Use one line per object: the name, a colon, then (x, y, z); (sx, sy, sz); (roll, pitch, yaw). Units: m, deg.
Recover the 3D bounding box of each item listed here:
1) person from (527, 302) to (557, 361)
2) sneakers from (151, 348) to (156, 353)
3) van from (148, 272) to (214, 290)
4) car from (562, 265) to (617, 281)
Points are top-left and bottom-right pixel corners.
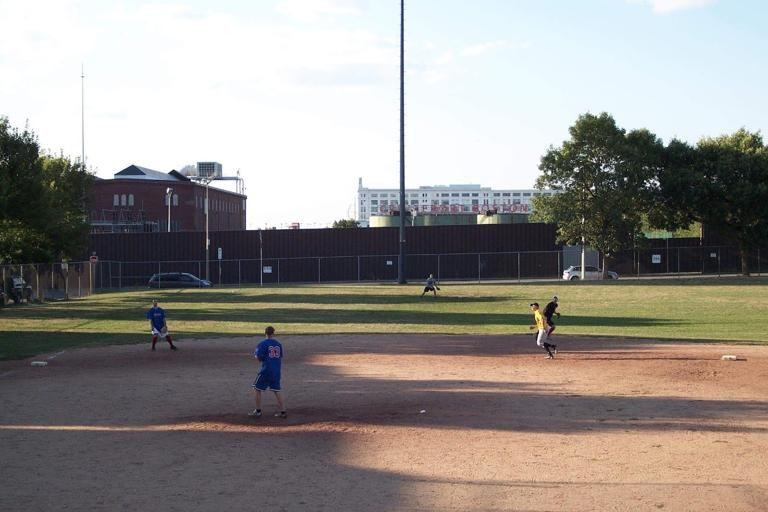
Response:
person: (8.093, 3.900, 61.394); (1.528, 2.813, 1.112); (1, -45, -2)
sneakers: (-11.669, 4.667, 60.826); (0.189, 0.152, 0.253); (0, -2, -9)
van: (-17.966, 2.167, 106.063); (4.481, 1.378, 2.060); (-1, 0, 0)
car: (18.866, 1.589, 110.333); (4.225, 1.322, 1.849); (-1, 2, -2)
